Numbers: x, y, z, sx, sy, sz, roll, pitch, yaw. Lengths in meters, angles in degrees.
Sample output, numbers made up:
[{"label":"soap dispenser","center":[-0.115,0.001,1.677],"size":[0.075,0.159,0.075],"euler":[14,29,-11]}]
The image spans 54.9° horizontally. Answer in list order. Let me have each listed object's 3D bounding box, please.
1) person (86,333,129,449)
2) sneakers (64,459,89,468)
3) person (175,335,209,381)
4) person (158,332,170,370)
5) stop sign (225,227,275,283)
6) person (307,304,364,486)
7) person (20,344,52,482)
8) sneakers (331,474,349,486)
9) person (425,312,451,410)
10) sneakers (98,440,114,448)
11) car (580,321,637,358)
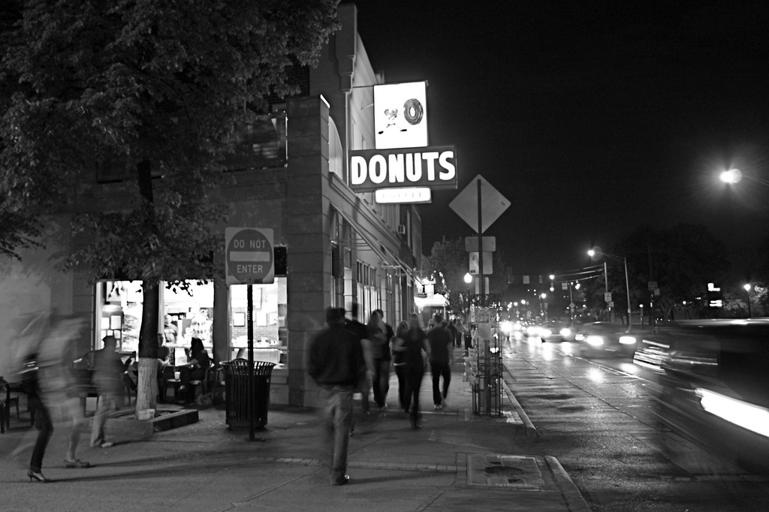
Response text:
[{"label":"person","center":[-5.418,2.706,14.501],"size":[0.482,2.250,0.863],"euler":[-1,2,-25]},{"label":"sneakers","center":[-5.673,3.824,13.651],"size":[0.403,0.170,0.183],"euler":[1,-6,-6]},{"label":"person","center":[-5.204,2.760,20.021],"size":[0.730,1.157,1.152],"euler":[-1,2,-36]},{"label":"person","center":[-6.242,2.690,21.018],"size":[0.298,0.918,1.677],"euler":[0,1,-16]},{"label":"stop sign","center":[-2.812,0.005,15.454],"size":[1.040,1.294,0.147],"euler":[-1,-1,-36]},{"label":"person","center":[-0.847,2.425,13.049],"size":[0.794,2.967,0.729],"euler":[2,3,40]},{"label":"person","center":[-6.081,2.793,13.023],"size":[0.396,2.258,0.558],"euler":[-2,3,-44]},{"label":"sneakers","center":[-0.741,3.841,12.754],"size":[0.116,0.166,0.362],"euler":[0,-1,24]},{"label":"person","center":[1.382,2.646,18.787],"size":[0.571,2.407,1.163],"euler":[0,2,3]},{"label":"sneakers","center":[-5.615,3.804,14.956],"size":[0.248,0.202,0.101],"euler":[0,-2,-9]},{"label":"car","center":[10.425,3.968,35.654],"size":[1.613,1.327,2.876],"euler":[-1,-17,-1]}]
